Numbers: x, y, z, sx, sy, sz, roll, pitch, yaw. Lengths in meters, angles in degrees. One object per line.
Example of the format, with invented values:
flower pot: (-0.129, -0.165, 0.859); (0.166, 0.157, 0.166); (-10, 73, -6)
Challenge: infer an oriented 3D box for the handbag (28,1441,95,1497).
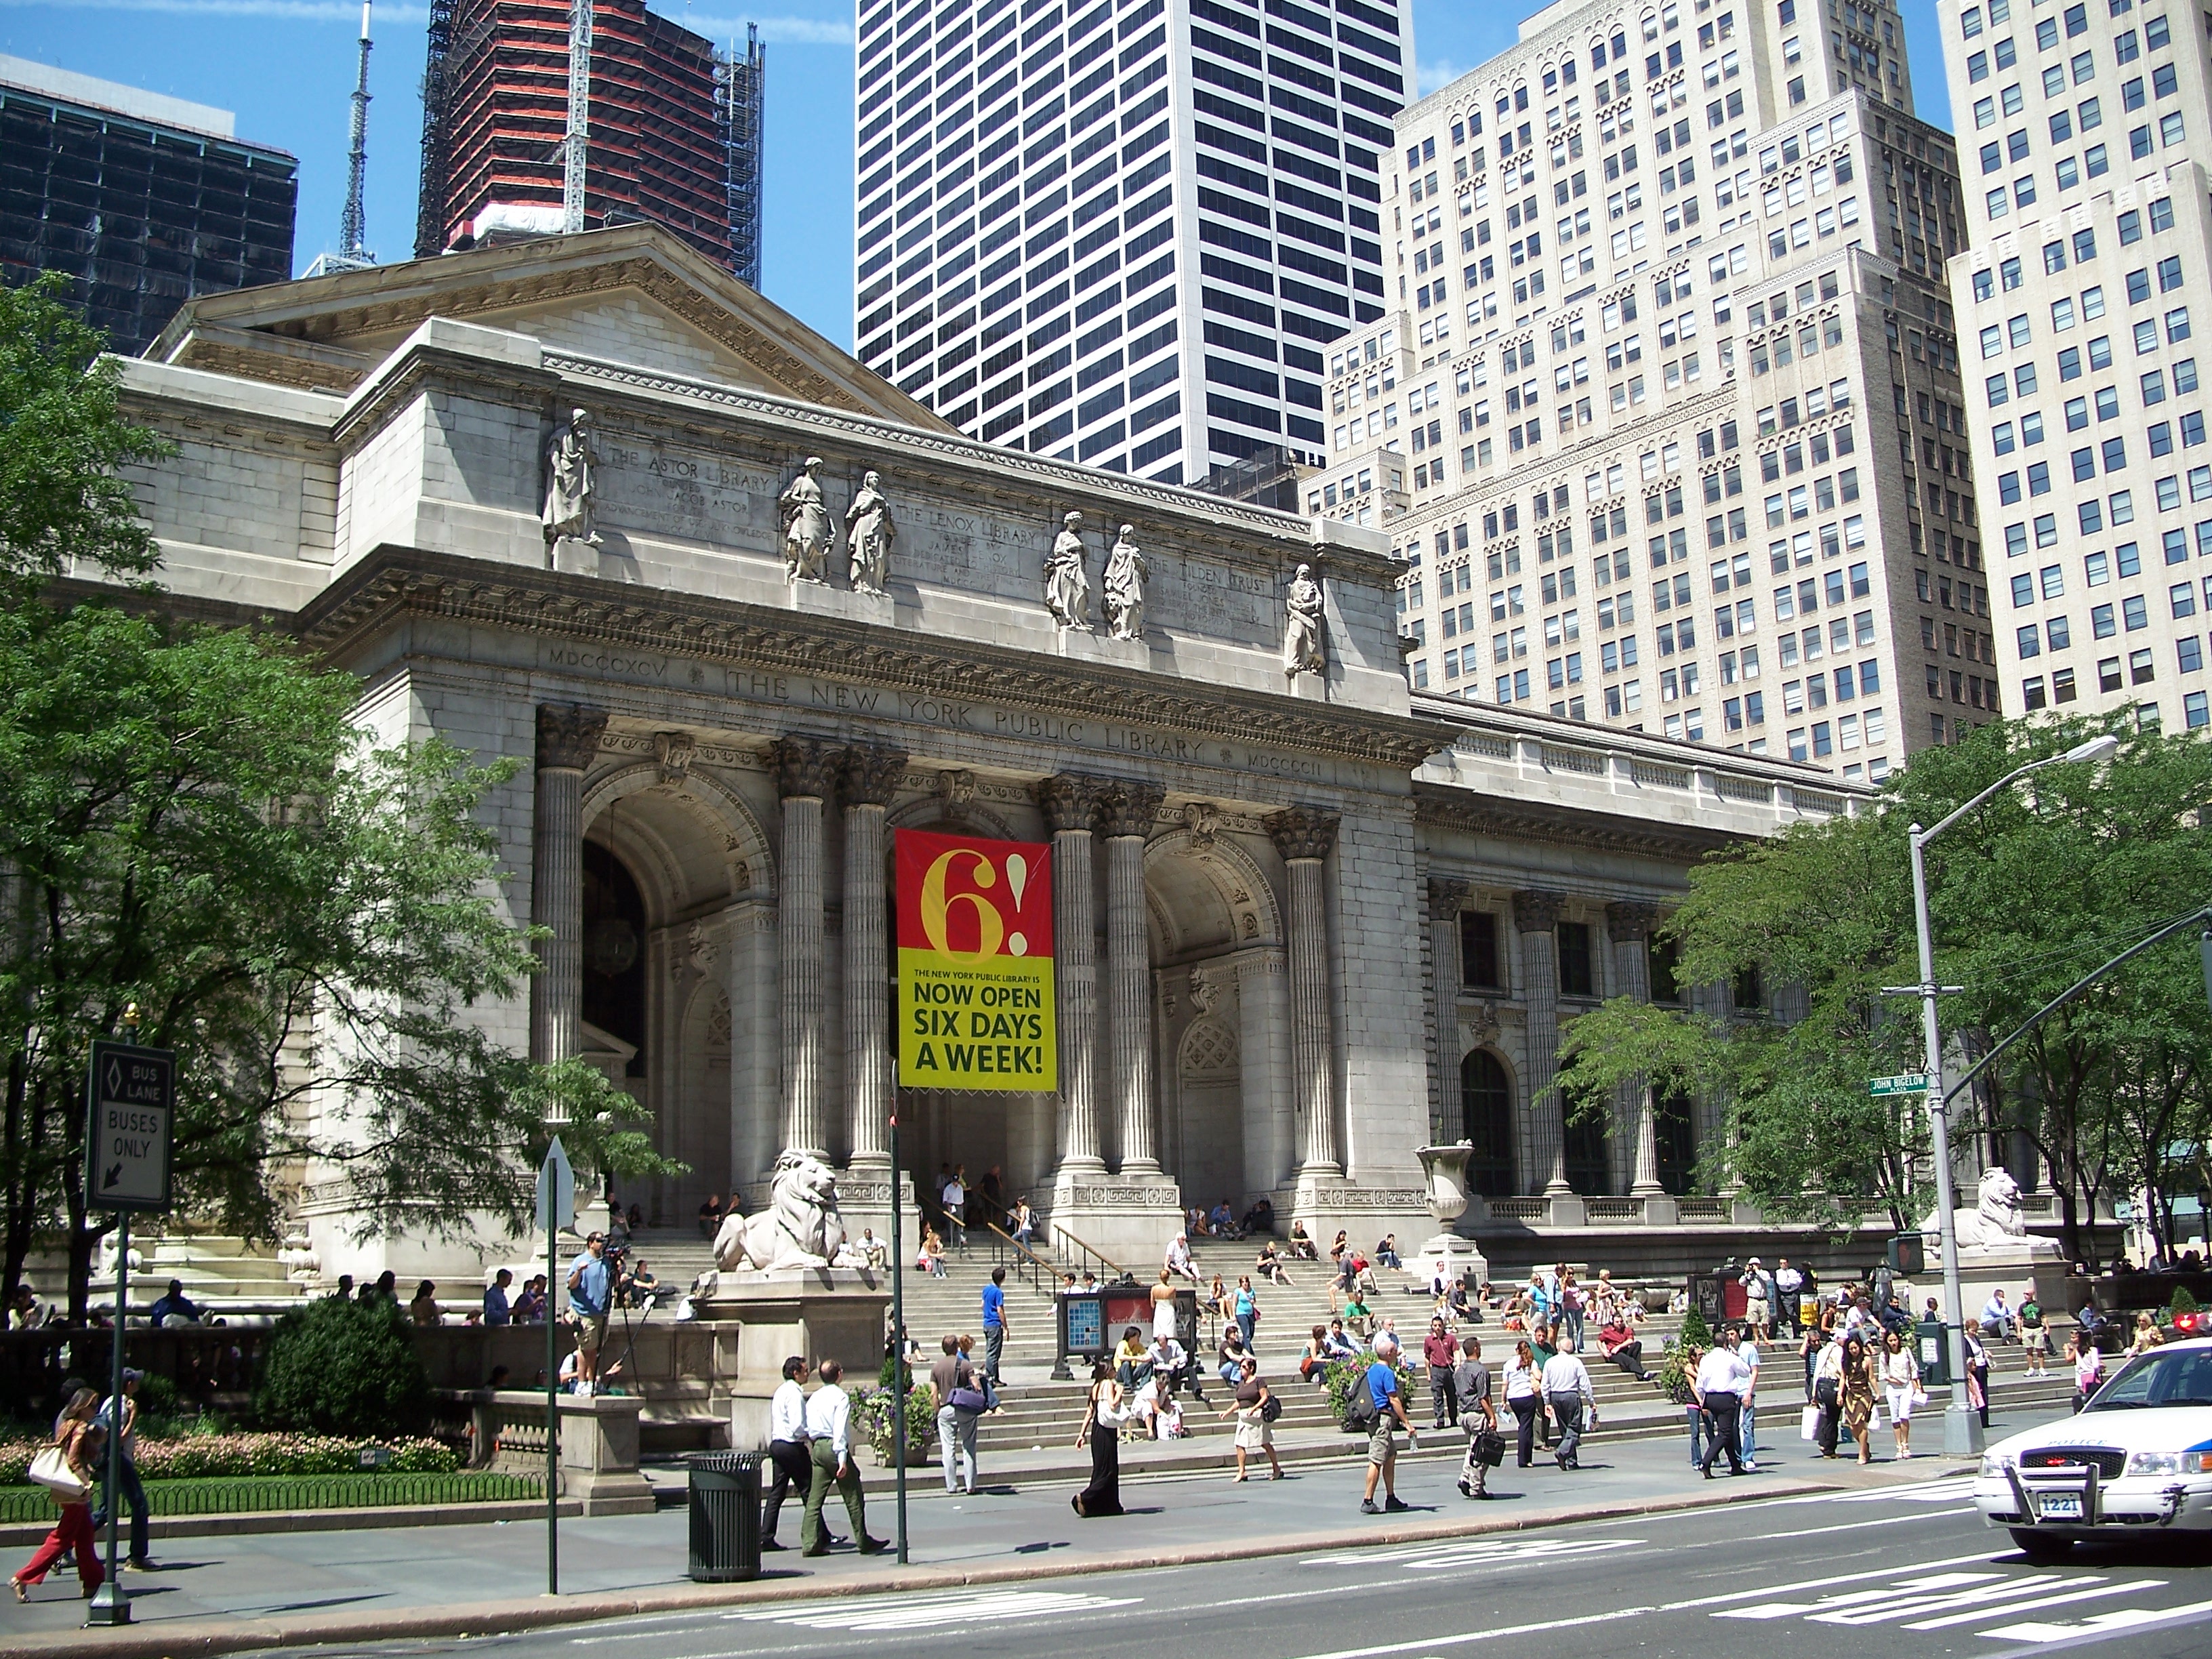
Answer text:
handbag: (-13.494, 8.257, 32.414); (0.669, 0.641, 0.482); (1, -14, -14)

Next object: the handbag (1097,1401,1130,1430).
handbag: (0.050, 9.380, 40.370); (0.923, 0.435, 1.202); (3, -13, 1)

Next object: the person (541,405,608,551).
person: (-13.111, -8.584, 61.236); (1.252, 3.794, 0.845); (1, -14, -15)

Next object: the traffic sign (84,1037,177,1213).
traffic sign: (-12.766, 3.803, 32.794); (0.525, 2.074, 1.300); (-10, -15, 28)

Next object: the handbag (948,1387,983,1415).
handbag: (-2.304, 9.502, 41.871); (0.365, 0.386, 0.464); (-8, -22, 27)

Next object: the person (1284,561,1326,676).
person: (5.735, -6.066, 73.073); (1.506, 3.643, 0.648); (11, -19, -43)
